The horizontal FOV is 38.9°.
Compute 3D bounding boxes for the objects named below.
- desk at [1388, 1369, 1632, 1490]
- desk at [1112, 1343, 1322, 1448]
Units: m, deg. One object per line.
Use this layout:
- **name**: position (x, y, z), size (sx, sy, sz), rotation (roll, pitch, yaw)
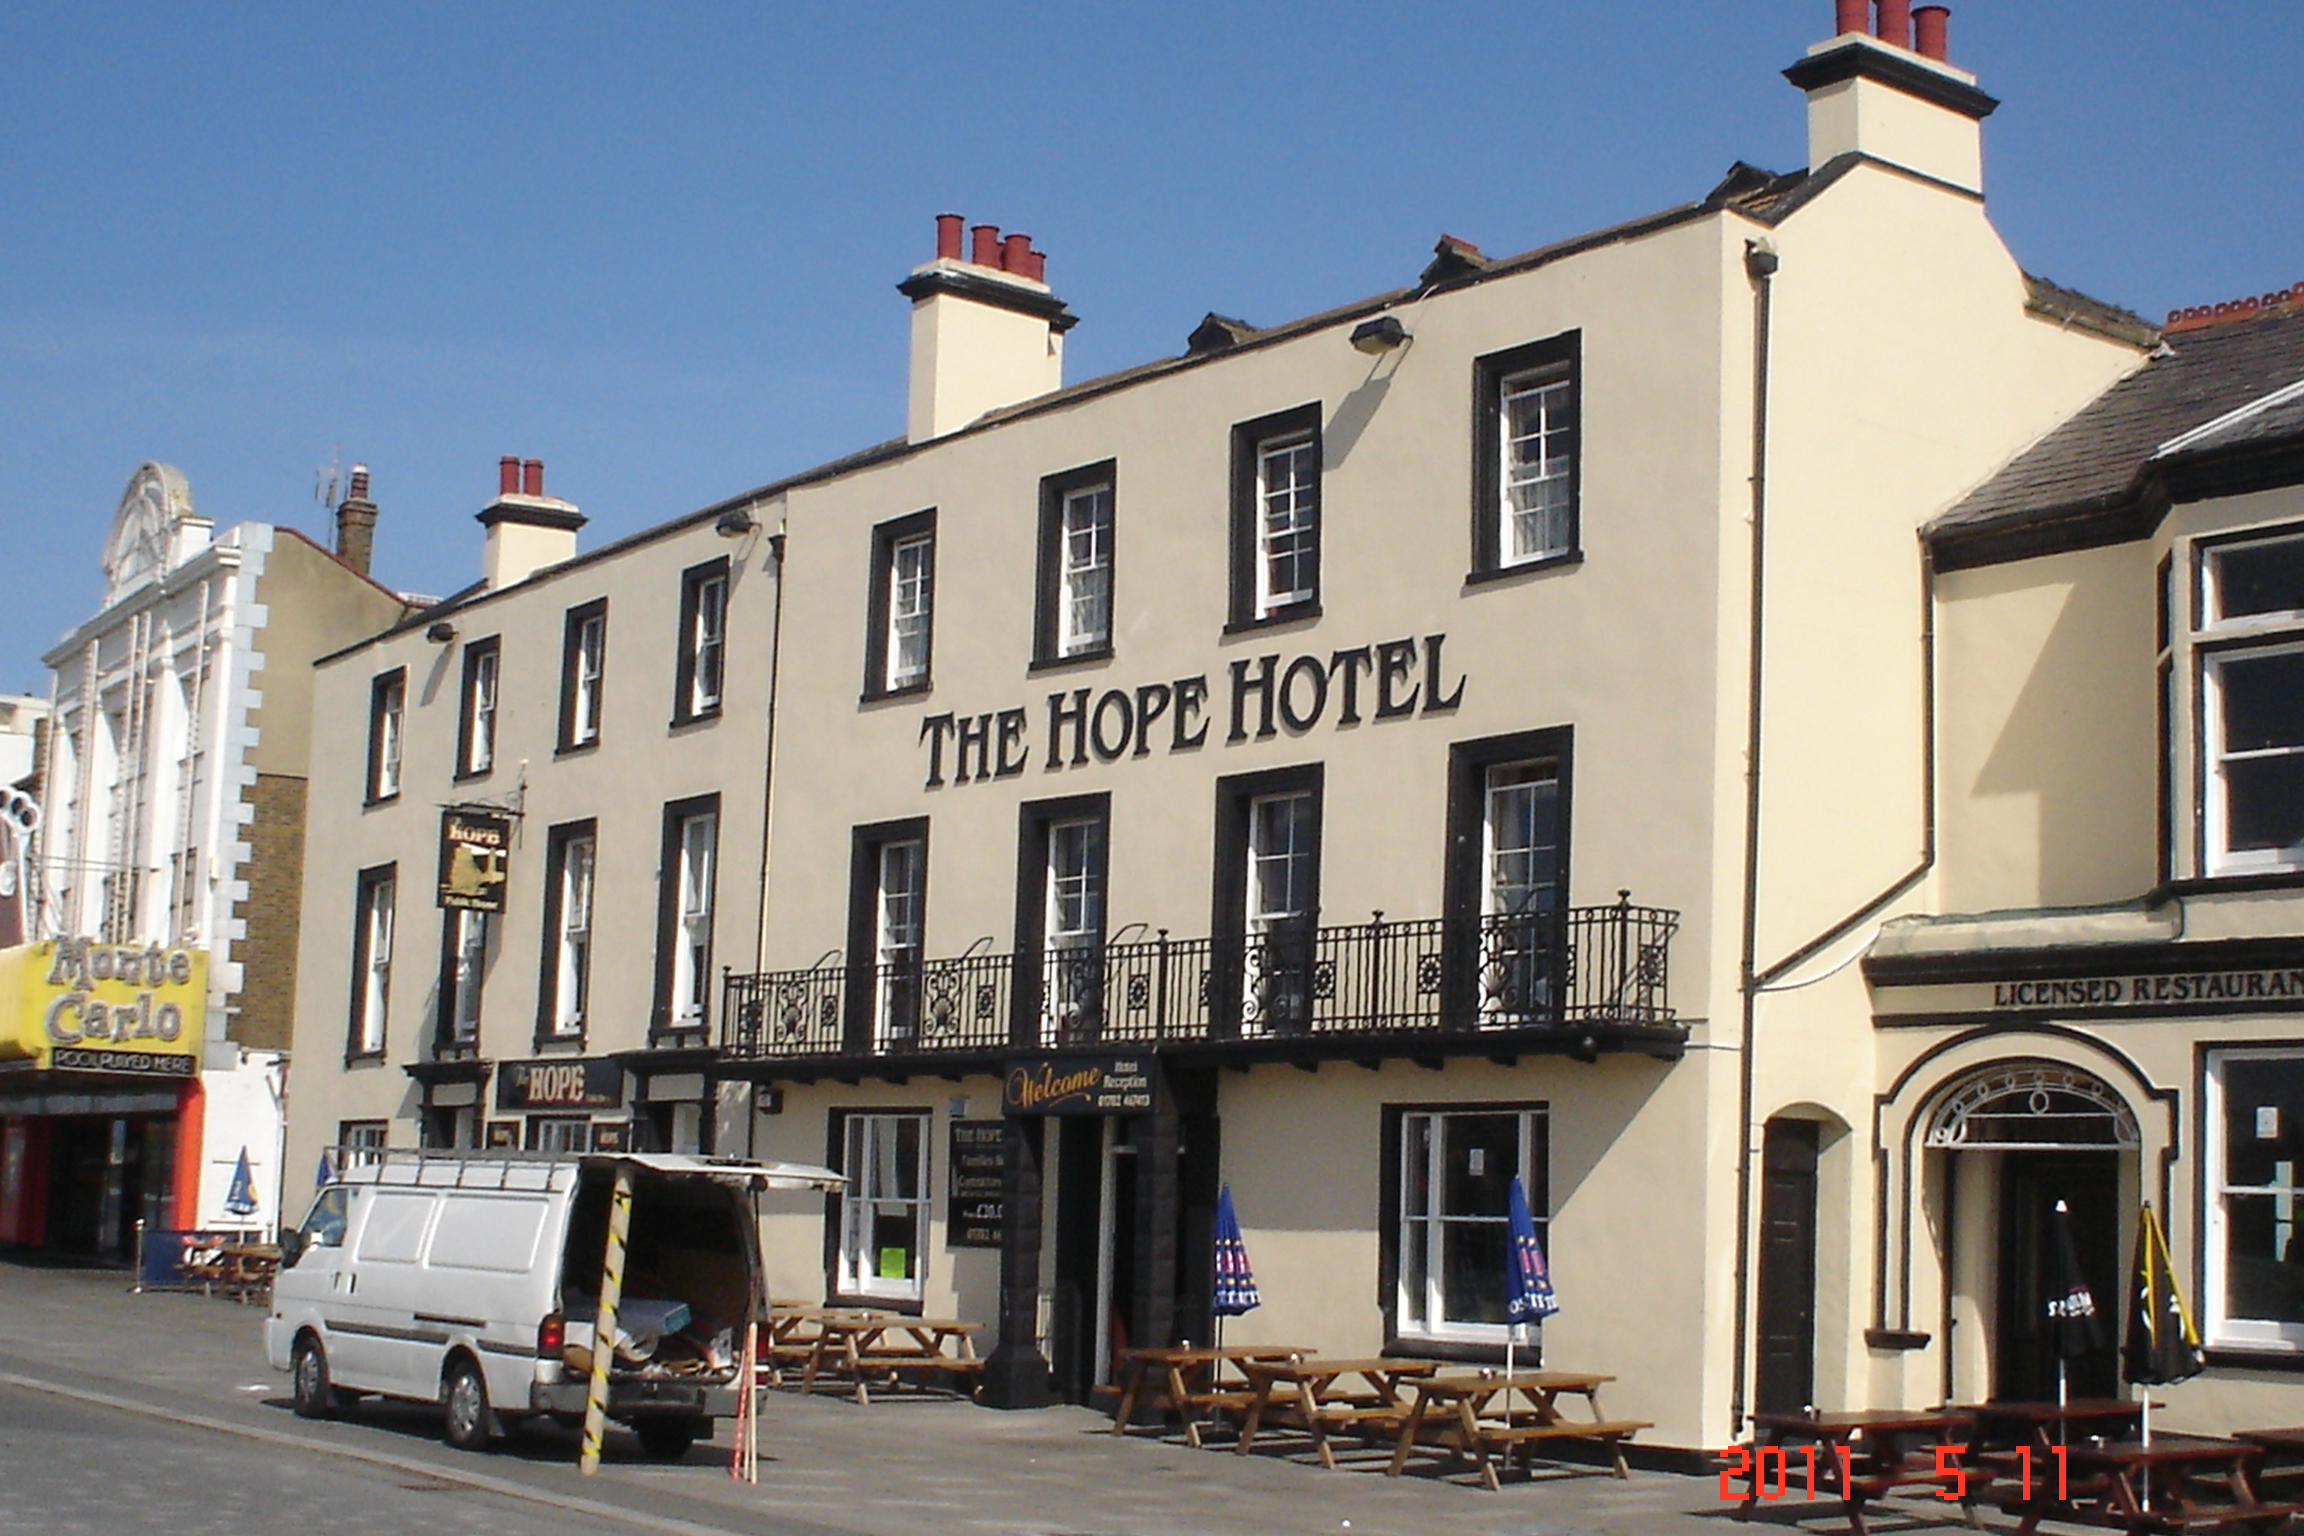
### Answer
- **desk**: position (3.813, 6.815, 34.197), size (2.770, 1.082, 1.009), rotation (-7, 0, -14)
- **desk**: position (0.455, 6.920, 36.323), size (1.394, 0.687, 1.349), rotation (4, -6, -36)
